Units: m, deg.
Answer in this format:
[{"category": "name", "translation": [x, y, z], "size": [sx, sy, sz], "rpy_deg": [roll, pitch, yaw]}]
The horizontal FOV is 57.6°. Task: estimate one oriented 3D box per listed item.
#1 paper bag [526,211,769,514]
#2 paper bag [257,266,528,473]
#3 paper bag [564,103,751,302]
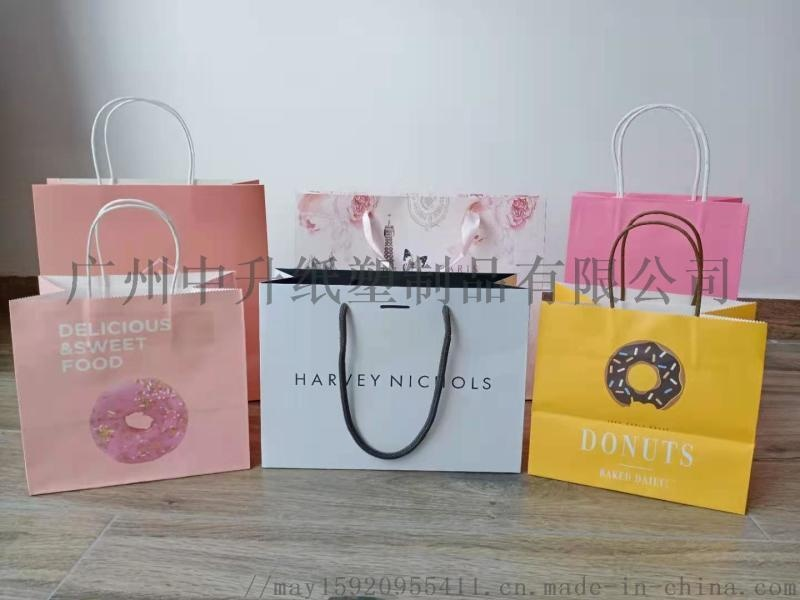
[{"category": "paper bag", "translation": [0.536, 0.097, 1.554], "size": [0.448, 0.644, 0.208], "rpy_deg": [7, 31, 20]}, {"category": "paper bag", "translation": [-0.018, 0.152, 1.740], "size": [0.573, 0.439, 0.377], "rpy_deg": [2, 11, 1]}, {"category": "paper bag", "translation": [0.688, -0.221, 1.905], "size": [0.431, 0.568, 0.186], "rpy_deg": [5, 31, 24]}]
